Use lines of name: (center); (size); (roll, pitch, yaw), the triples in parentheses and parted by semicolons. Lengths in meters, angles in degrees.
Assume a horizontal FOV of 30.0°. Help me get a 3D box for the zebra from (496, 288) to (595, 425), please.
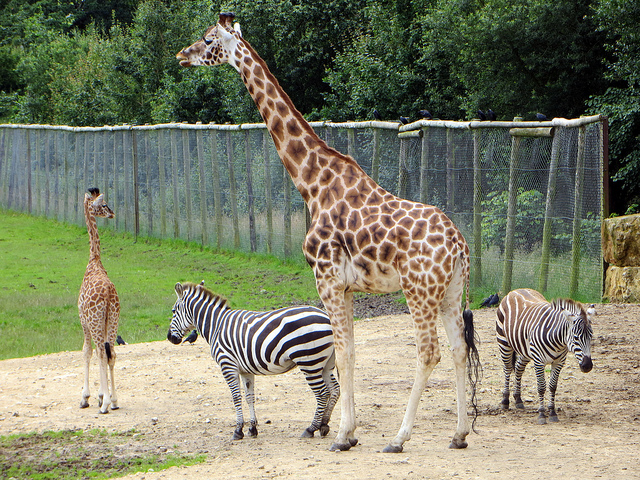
zebra: (3.805, 1.944, 20.636); (0.779, 2.394, 2.961); (-1, 7, -18)

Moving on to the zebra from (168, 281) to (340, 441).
zebra: (-1.179, 2.198, 20.599); (2.195, 2.230, 0.789); (0, 1, 27)

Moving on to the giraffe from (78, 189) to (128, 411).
giraffe: (-4.005, 1.003, 21.921); (0.729, 4.146, 1.608); (2, -6, -22)
